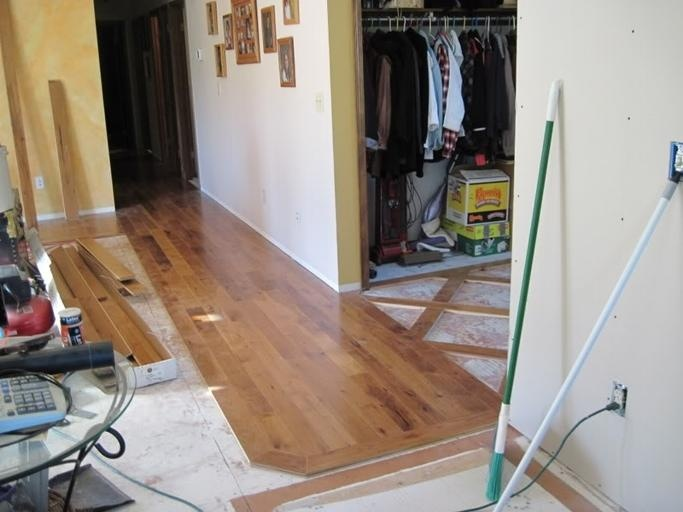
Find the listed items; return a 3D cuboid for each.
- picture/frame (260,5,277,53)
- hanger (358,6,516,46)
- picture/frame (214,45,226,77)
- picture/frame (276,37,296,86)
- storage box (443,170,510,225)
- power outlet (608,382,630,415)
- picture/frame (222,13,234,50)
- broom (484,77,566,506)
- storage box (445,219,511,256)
[{"bbox_3d":[-0.622,-1.979,4.749,0.050,0.388,0.328,-11,29,-21],"label":"picture/frame"},{"bbox_3d":[0.853,-1.966,4.616,1.502,0.428,0.446,-11,22,-14],"label":"hanger"},{"bbox_3d":[-1.344,-2.182,6.104,0.067,0.374,0.315,-6,20,-20],"label":"picture/frame"},{"bbox_3d":[-0.446,-1.609,4.505,0.041,0.419,0.355,-9,22,-24],"label":"picture/frame"},{"bbox_3d":[1.214,-0.601,4.957,0.524,0.503,0.364,-5,15,-13],"label":"storage box"},{"bbox_3d":[1.083,0.553,2.144,0.029,0.124,0.074,-17,24,-31],"label":"power outlet"},{"bbox_3d":[-1.174,-2.352,5.722,0.040,0.401,0.325,-7,20,-22],"label":"picture/frame"},{"bbox_3d":[0.709,0.220,2.246,0.230,1.991,0.224,-17,20,-40],"label":"broom"},{"bbox_3d":[1.236,-0.180,5.008,0.503,0.298,0.362,-6,16,-19],"label":"storage box"}]
